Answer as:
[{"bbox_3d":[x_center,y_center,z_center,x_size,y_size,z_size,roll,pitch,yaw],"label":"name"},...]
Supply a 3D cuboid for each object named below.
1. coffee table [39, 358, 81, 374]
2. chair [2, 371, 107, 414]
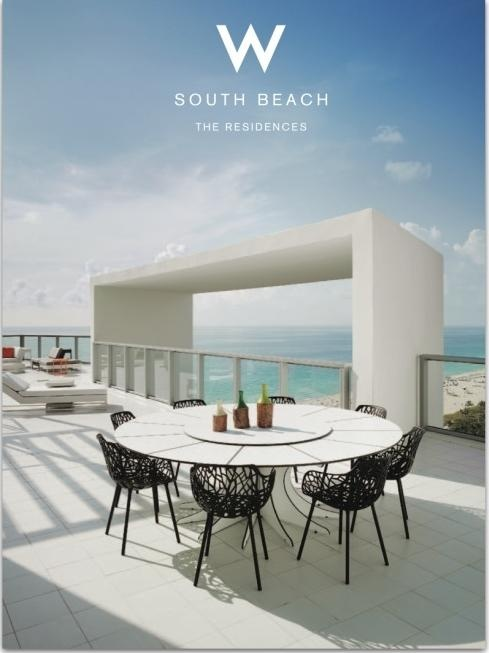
[{"bbox_3d":[-5.503,1.176,14.178,1.211,0.432,1.453,0,0,-24],"label":"coffee table"},{"bbox_3d":[-3.381,1.188,8.425,1.692,0.700,0.933,-2,3,-15],"label":"chair"}]
